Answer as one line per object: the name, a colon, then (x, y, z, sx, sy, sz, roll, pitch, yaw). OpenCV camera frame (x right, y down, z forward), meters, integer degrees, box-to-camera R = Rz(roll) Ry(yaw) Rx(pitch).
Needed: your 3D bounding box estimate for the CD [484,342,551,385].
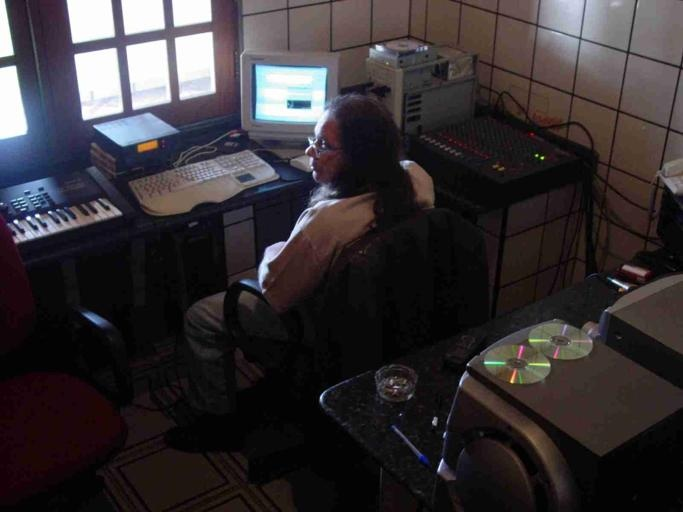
CD: (0.347, 0.214, 1.124, 0.132, 0.010, 0.110, 8, 36, 16)
